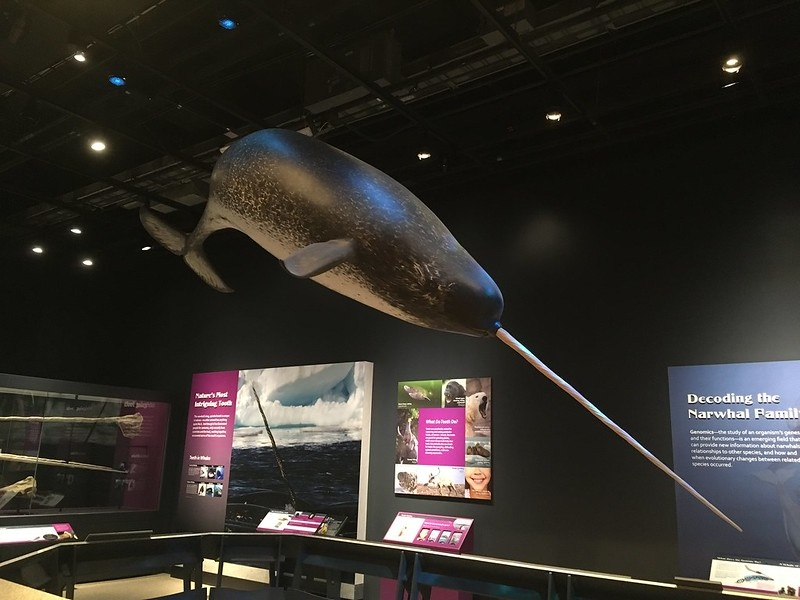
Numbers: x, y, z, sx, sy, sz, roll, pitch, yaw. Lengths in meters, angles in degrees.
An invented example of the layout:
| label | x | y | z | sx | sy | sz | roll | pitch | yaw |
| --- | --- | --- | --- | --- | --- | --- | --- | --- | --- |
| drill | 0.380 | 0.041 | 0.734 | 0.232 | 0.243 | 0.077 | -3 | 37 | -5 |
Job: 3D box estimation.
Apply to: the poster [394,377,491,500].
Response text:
| label | x | y | z | sx | sy | sz | roll | pitch | yaw |
| --- | --- | --- | --- | --- | --- | --- | --- | --- | --- |
| poster | 0.518 | 1.574 | 6.806 | 1.431 | 1.438 | 0.070 | -7 | -16 | 33 |

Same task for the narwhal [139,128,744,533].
| label | x | y | z | sx | sy | sz | roll | pitch | yaw |
| --- | --- | --- | --- | --- | --- | --- | --- | --- | --- |
| narwhal | -0.264 | -0.191 | 2.366 | 2.628 | 0.568 | 0.845 | 26 | 8 | 8 |
